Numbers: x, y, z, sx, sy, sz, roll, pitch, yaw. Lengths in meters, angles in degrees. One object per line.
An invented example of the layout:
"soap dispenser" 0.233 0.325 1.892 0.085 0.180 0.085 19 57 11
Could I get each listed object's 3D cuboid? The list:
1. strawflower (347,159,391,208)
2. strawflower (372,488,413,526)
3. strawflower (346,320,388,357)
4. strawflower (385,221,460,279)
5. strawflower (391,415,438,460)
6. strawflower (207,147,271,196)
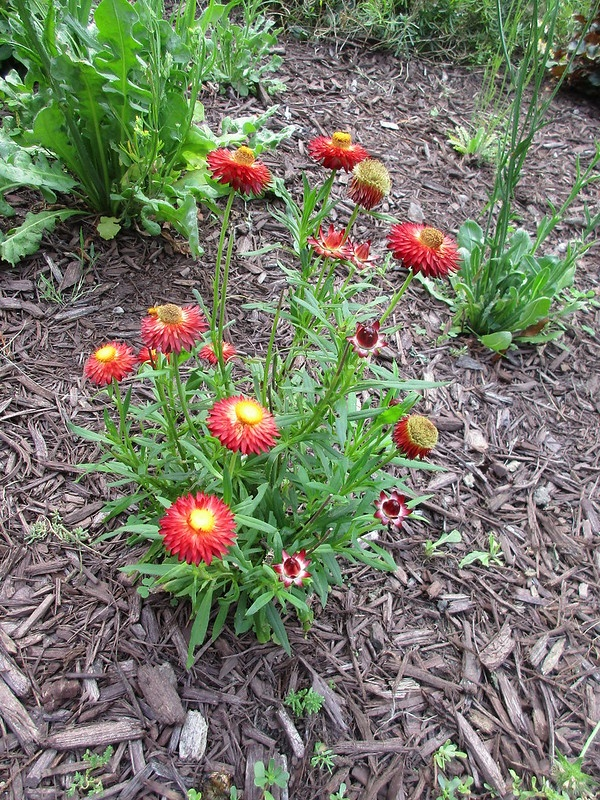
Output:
"strawflower" 0.178 -0.617 1.825 0.113 0.118 0.108 -12 42 -31
"strawflower" 0.256 0.304 1.814 0.098 0.048 0.100 -6 80 9
"strawflower" 0.160 -0.151 1.560 0.072 0.062 0.107 26 42 15
"strawflower" 0.329 -0.403 1.680 0.207 0.088 0.207 8 50 -6
"strawflower" 0.303 0.101 1.672 0.120 0.031 0.112 -7 85 -6
"strawflower" -0.174 -0.619 1.683 0.151 0.068 0.146 -2 60 -33
